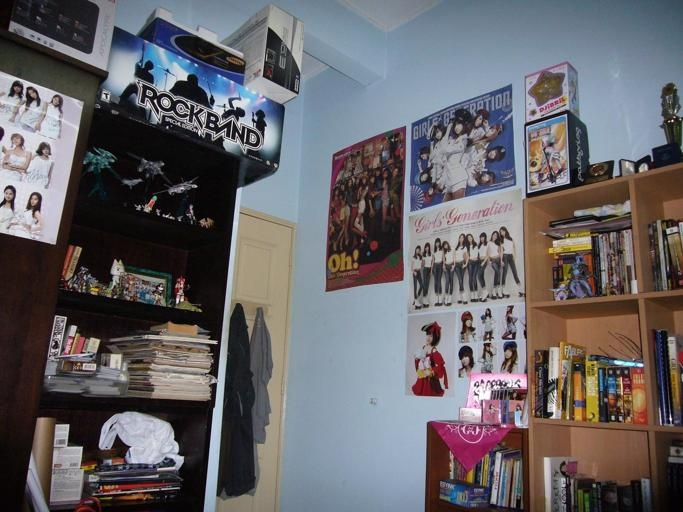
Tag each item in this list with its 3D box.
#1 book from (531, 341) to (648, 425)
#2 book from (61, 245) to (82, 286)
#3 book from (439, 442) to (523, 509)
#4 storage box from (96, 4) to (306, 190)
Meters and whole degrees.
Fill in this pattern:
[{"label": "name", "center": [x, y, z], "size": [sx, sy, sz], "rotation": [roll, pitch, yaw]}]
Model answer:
[{"label": "book", "center": [1.146, 0.618, 2.290], "size": [0.467, 0.501, 0.334], "rotation": [10, -15, -28]}, {"label": "book", "center": [-1.307, 0.051, 2.374], "size": [0.052, 0.197, 0.149], "rotation": [10, -17, -27]}, {"label": "book", "center": [0.714, 1.136, 2.537], "size": [0.407, 0.290, 0.200], "rotation": [-2, -16, 16]}, {"label": "storage box", "center": [-0.775, -0.854, 2.593], "size": [0.904, 0.931, 0.466], "rotation": [27, -28, -33]}]
